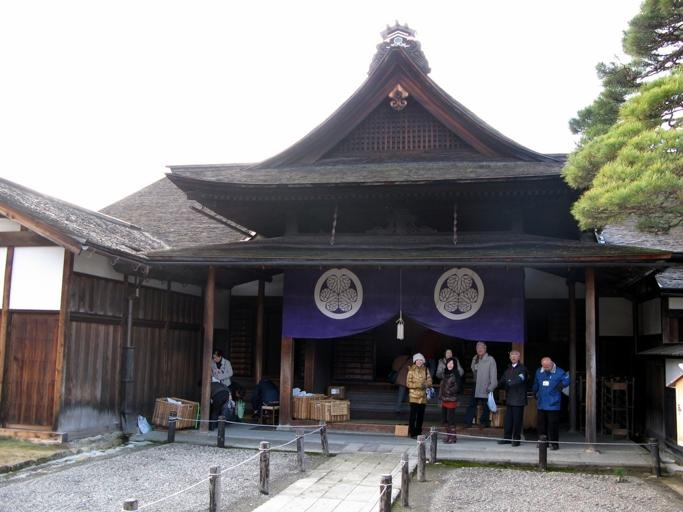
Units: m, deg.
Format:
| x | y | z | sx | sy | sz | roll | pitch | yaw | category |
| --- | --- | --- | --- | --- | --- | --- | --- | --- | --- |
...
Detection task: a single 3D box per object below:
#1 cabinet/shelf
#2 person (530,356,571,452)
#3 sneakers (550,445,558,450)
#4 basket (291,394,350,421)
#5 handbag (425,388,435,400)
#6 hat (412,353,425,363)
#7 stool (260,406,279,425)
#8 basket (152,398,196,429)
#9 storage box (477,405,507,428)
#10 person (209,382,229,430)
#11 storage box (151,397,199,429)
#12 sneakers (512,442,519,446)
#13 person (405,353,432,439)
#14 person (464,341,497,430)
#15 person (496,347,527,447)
| x | y | z | sx | sy | sz | roll | pitch | yaw | category |
| --- | --- | --- | --- | --- | --- | --- | --- | --- | --- |
| 5.887 | 3.347 | 13.643 | 0.579 | 1.417 | 1.545 | 1 | -13 | 8 | cabinet/shelf |
| 4.150 | 2.889 | 12.224 | 0.530 | 1.770 | 0.657 | 0 | -11 | -4 | person |
| 4.187 | 3.752 | 12.197 | 0.067 | 0.079 | 0.196 | -5 | -31 | 21 | sneakers |
| -0.485 | 3.523 | 14.360 | 1.311 | 0.600 | 0.372 | 1 | -11 | -9 | basket |
| 1.845 | 2.842 | 12.934 | 0.162 | 0.192 | 0.253 | -2 | -11 | 5 | handbag |
| 1.631 | 2.124 | 13.018 | 0.267 | 0.205 | 0.351 | 0 | -6 | 3 | hat |
| -1.659 | 3.675 | 14.461 | 0.483 | 0.438 | 0.386 | 4 | -12 | -25 | stool |
| -3.784 | 3.509 | 13.978 | 0.798 | 0.547 | 0.782 | -2 | -11 | 24 | basket |
| 3.398 | 3.598 | 13.951 | 0.587 | 0.332 | 0.535 | 0 | -8 | 2 | storage box |
| -2.786 | 3.265 | 14.177 | 0.430 | 0.834 | 0.355 | 1 | -11 | -11 | person |
| -3.641 | 3.536 | 13.915 | 0.702 | 0.378 | 0.681 | -2 | -15 | 22 | storage box |
| 3.516 | 3.755 | 12.431 | 0.198 | 0.074 | 0.111 | 3 | -12 | -17 | sneakers |
| 1.645 | 2.947 | 13.078 | 0.506 | 1.746 | 0.834 | -2 | -11 | 5 | person |
| 3.034 | 2.779 | 13.558 | 0.598 | 1.876 | 1.496 | -2 | -11 | 5 | person |
| 3.495 | 2.861 | 12.641 | 0.635 | 1.910 | 0.903 | -3 | -11 | 12 | person |
